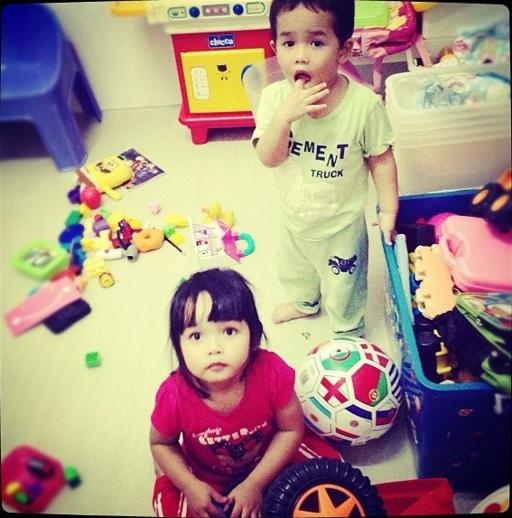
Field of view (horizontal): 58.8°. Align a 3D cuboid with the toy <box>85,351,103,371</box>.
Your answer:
[{"bbox_3d":[-0.346,0.214,0.963,0.030,0.020,0.032,1,41,-3],"label":"toy"}]

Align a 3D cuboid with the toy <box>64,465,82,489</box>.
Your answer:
[{"bbox_3d":[-0.324,0.384,0.799,0.030,0.030,0.029,-25,-3,43],"label":"toy"}]

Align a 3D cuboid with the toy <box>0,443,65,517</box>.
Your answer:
[{"bbox_3d":[-0.389,0.370,0.785,0.093,0.057,0.119,-27,42,-24],"label":"toy"}]
